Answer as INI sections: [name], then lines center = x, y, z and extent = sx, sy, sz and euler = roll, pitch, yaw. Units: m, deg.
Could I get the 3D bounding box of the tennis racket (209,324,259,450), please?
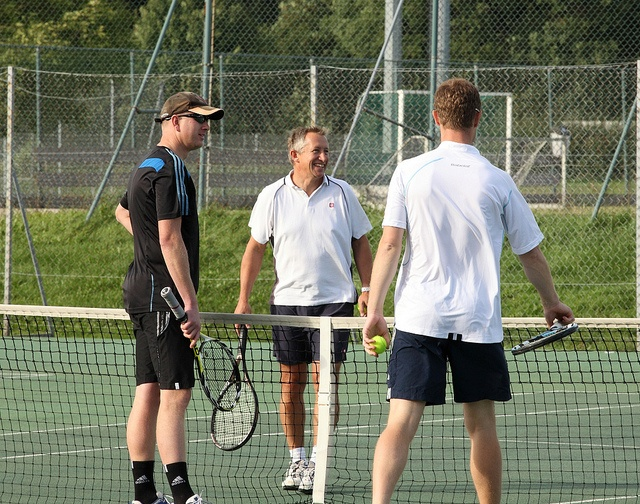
[tennis racket]
center = -0.688, 1.087, 8.892
extent = 0.424, 0.103, 1.403
euler = -6, 49, 12

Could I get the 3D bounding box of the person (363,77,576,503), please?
[person]
center = 0.967, 0.266, 7.366
extent = 1.256, 3.007, 0.651
euler = 0, 8, -18

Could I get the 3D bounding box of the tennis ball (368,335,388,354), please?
[tennis ball]
center = 0.415, 0.656, 7.424
extent = 0.102, 0.147, 0.114
euler = 0, -25, -19

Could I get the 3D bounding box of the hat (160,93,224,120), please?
[hat]
center = -1.005, -1.145, 7.975
extent = 0.344, 0.170, 0.249
euler = 0, -2, 4

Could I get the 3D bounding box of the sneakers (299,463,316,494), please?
[sneakers]
center = -0.114, 1.883, 8.601
extent = 0.127, 0.239, 0.136
euler = 2, 8, -4
